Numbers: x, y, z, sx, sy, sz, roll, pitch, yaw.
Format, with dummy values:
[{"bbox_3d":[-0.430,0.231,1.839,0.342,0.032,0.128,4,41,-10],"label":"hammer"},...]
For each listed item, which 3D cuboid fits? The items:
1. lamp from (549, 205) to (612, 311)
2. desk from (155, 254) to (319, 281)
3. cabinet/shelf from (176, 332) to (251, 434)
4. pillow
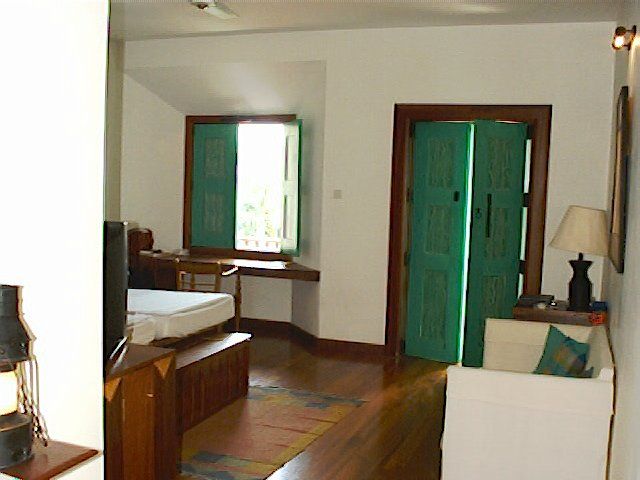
[{"bbox_3d":[1.933,0.139,4.273,0.379,0.791,0.595,5,9,23],"label":"lamp"},{"bbox_3d":[-0.880,0.364,6.745,2.060,0.257,0.711,3,7,18],"label":"desk"},{"bbox_3d":[-0.831,1.125,4.394,0.274,0.333,0.769,1,5,16],"label":"cabinet/shelf"},{"bbox_3d":[1.486,0.712,3.507,0.104,0.290,0.355,36,-13,-31],"label":"pillow"}]
